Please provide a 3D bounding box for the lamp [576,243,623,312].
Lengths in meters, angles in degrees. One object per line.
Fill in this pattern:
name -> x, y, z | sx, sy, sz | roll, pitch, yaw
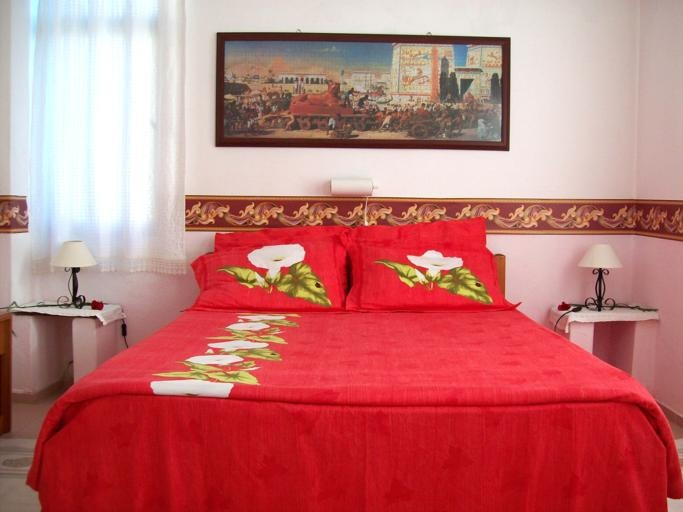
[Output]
lamp -> 1.787, 0.140, 3.934 | 0.310, 0.470, 0.301 | -4, 7, -17

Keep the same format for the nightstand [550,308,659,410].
nightstand -> 1.840, 0.618, 3.999 | 0.599, 0.594, 0.511 | -2, 11, 8

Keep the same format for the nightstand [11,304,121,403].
nightstand -> -1.910, 0.570, 4.012 | 0.751, 0.684, 0.593 | 1, 3, 10
